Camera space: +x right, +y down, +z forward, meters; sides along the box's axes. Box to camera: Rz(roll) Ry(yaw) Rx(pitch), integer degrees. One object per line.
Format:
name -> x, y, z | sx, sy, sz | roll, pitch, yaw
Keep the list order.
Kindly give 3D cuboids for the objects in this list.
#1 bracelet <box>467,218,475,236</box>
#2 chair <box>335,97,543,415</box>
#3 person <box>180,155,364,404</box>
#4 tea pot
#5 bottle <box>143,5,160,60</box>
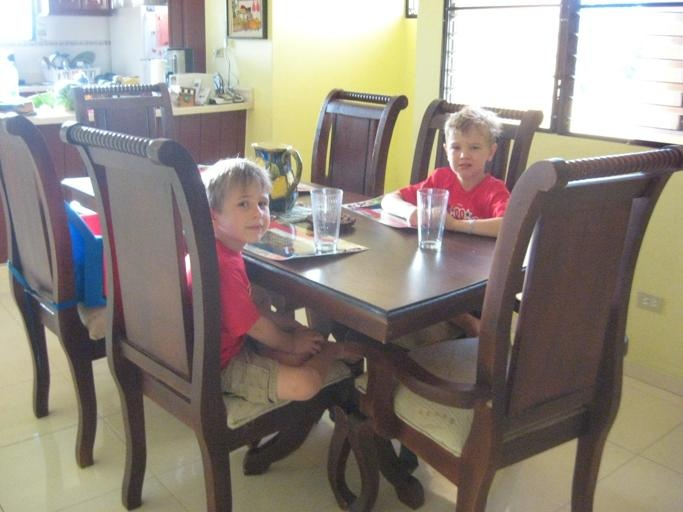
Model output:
bracelet -> 0.432, -0.100, 1.986 | 0.016, 0.045, 0.034 | 3, -8, -6
chair -> 0.334, -0.178, 2.086 | 0.469, 0.867, 0.604 | 15, 6, 37
person -> -0.195, 0.000, 1.992 | 0.683, 0.889, 0.497 | -6, 16, -16
tea pot -> -0.214, -0.289, 2.140 | 0.240, 0.264, 0.162 | -5, 11, -38
bottle -> -1.646, -1.949, 5.108 | 0.074, 0.432, 0.231 | -17, 26, -41
